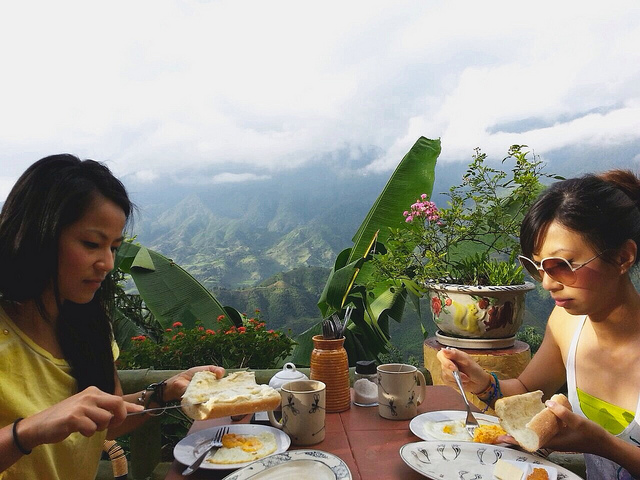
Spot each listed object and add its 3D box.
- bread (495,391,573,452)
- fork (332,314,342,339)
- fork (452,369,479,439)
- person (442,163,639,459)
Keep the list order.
[{"bbox_3d":[1.007,0.870,2.166,0.336,0.295,0.354,1,1,8],"label":"bread"},{"bbox_3d":[0.102,0.507,2.569,0.030,0.136,0.020,-5,-6,-39],"label":"fork"},{"bbox_3d":[0.833,0.928,2.413,0.087,0.063,0.494,-5,10,12],"label":"fork"},{"bbox_3d":[1.454,0.333,2.517,0.767,1.443,0.710,5,17,42],"label":"person"}]
